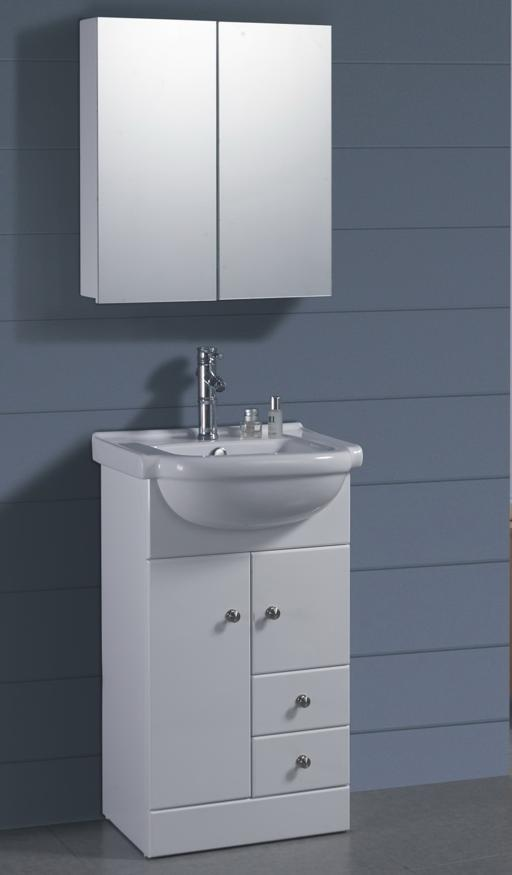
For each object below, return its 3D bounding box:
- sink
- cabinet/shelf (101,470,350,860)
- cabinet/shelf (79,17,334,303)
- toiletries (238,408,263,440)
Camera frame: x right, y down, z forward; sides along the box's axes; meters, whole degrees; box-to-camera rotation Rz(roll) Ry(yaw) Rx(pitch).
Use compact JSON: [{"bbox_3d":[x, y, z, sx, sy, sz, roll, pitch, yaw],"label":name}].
[{"bbox_3d":[-0.056,0.086,1.854,0.484,0.170,0.492,-1,7,-17],"label":"sink"},{"bbox_3d":[-0.043,0.428,1.946,0.455,0.762,0.309,-1,3,-16],"label":"cabinet/shelf"},{"bbox_3d":[-0.122,-0.573,1.871,0.543,0.598,0.187,-3,9,-20],"label":"cabinet/shelf"},{"bbox_3d":[-0.011,-0.033,2.023,0.064,0.097,0.058,0,8,1],"label":"toiletries"}]
